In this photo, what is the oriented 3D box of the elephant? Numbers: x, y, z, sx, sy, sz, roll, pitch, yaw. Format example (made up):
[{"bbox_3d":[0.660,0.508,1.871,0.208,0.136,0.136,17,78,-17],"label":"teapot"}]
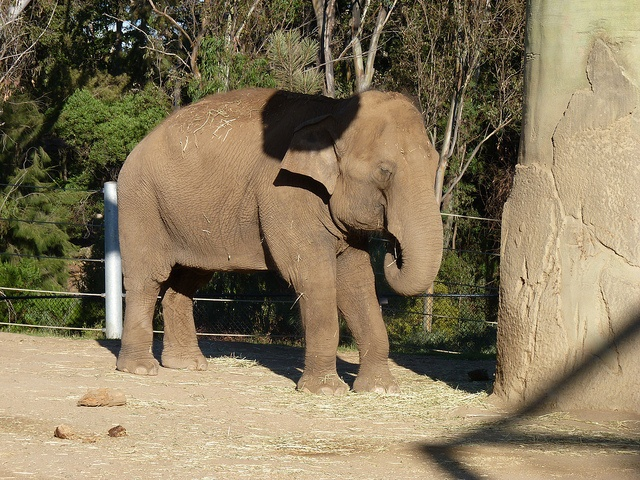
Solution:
[{"bbox_3d":[-0.433,-0.034,10.497,3.072,2.828,1.358,2,7,16],"label":"elephant"}]
